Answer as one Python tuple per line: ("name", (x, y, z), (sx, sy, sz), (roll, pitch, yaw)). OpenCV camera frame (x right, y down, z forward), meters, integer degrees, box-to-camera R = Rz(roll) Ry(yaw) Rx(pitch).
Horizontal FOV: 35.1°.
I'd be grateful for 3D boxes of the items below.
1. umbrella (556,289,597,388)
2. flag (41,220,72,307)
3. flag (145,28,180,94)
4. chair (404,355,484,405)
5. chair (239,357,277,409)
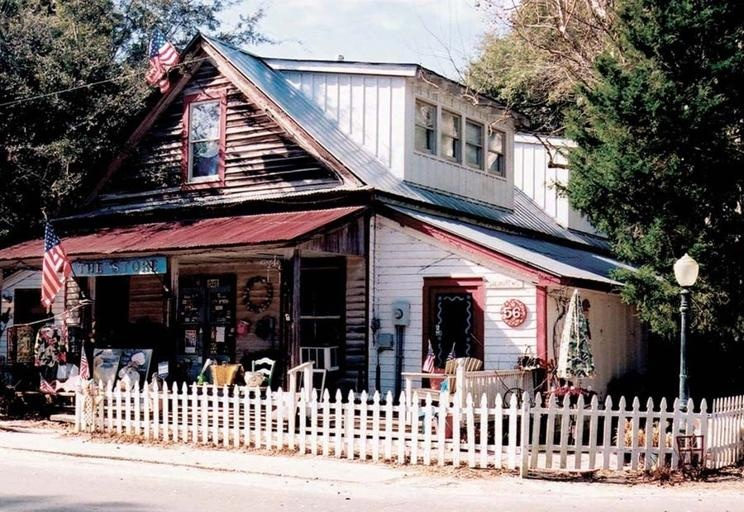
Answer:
("umbrella", (5.023, 2.001, 28.728), (0.853, 2.202, 0.786), (3, 13, 7))
("flag", (-8.570, 0.225, 31.755), (0.723, 2.441, 1.384), (-2, 13, -15))
("flag", (-6.404, -5.905, 35.766), (0.898, 1.981, 2.920), (-1, 13, -11))
("chair", (1.702, 3.146, 29.816), (1.785, 1.182, 1.158), (-3, -6, 44))
("chair", (-3.036, 3.375, 30.308), (0.949, 1.361, 0.964), (3, -3, -39))
